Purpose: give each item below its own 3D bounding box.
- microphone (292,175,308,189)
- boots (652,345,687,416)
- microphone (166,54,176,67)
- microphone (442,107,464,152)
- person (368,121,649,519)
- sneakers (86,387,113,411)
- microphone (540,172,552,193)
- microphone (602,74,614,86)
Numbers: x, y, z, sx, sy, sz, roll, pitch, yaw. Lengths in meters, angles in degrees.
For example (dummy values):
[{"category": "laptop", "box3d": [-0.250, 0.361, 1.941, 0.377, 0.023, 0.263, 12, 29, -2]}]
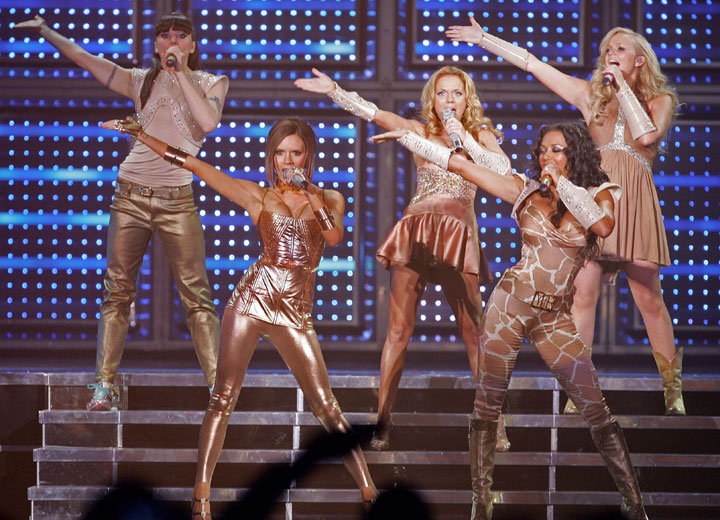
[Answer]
[{"category": "microphone", "box3d": [-0.323, -0.426, 5.378, 0.094, 0.071, 0.080, 1, -2, -13]}, {"category": "boots", "box3d": [1.882, 0.729, 5.976, 0.175, 0.400, 0.113, 0, -2, 24]}, {"category": "microphone", "box3d": [-1.128, -1.186, 5.890, 0.057, 0.076, 0.040, -12, -20, -15]}, {"category": "microphone", "box3d": [0.531, -0.728, 5.604, 0.082, 0.078, 0.289, -1, 40, -9]}, {"category": "person", "box3d": [0.962, 0.323, 5.377, 1.159, 2.178, 0.364, 0, -2, 15]}, {"category": "sneakers", "box3d": [-1.554, 0.836, 5.912, 0.177, 0.128, 0.103, 3, -4, 32]}, {"category": "microphone", "box3d": [1.018, -0.419, 5.389, 0.064, 0.064, 0.200, 9, 21, 8]}, {"category": "microphone", "box3d": [1.484, -1.076, 5.884, 0.058, 0.076, 0.176, 2, 10, 9]}]
